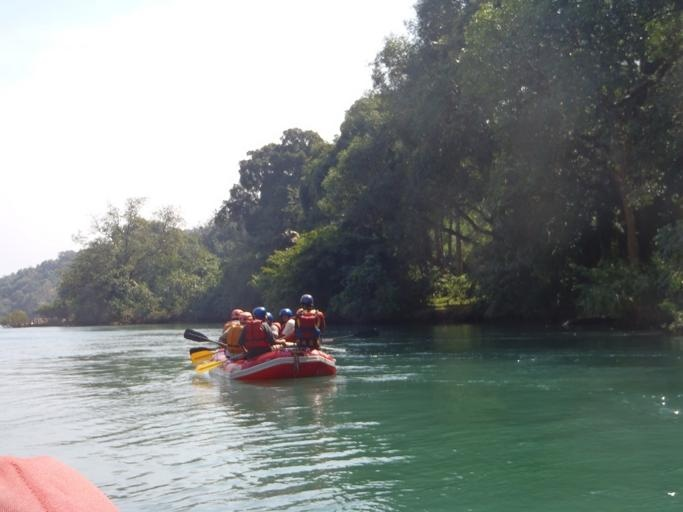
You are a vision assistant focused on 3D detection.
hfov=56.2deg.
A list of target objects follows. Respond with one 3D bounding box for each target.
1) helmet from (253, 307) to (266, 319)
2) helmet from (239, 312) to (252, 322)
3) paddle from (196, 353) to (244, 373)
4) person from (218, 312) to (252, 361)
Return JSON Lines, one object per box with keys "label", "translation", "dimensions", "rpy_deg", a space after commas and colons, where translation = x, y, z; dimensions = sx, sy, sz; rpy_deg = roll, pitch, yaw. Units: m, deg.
{"label": "helmet", "translation": [-2.652, 1.851, 20.738], "dimensions": [0.368, 0.554, 0.503], "rpy_deg": [-3, 12, -23]}
{"label": "helmet", "translation": [-3.279, 2.086, 21.827], "dimensions": [0.296, 0.420, 0.445], "rpy_deg": [2, -37, -24]}
{"label": "paddle", "translation": [-4.064, 3.589, 21.393], "dimensions": [1.492, 0.393, 0.124], "rpy_deg": [-25, 16, 21]}
{"label": "person", "translation": [-3.363, 2.691, 21.974], "dimensions": [1.006, 1.575, 1.581], "rpy_deg": [10, 1, 25]}
